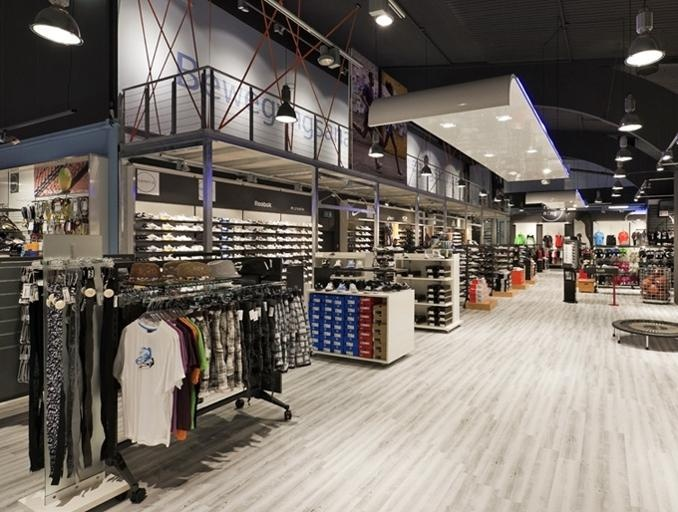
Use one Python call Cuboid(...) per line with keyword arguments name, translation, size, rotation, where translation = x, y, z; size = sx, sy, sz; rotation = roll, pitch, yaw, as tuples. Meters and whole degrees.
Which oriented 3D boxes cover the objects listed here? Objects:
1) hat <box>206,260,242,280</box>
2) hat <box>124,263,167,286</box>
Cuboid(name="hat", translation=(-1.513, 0.167, 6.594), size=(0.310, 0.238, 0.239), rotation=(5, -5, -6))
Cuboid(name="hat", translation=(-2.335, 0.187, 6.070), size=(0.397, 0.232, 0.540), rotation=(-5, 14, -21))
